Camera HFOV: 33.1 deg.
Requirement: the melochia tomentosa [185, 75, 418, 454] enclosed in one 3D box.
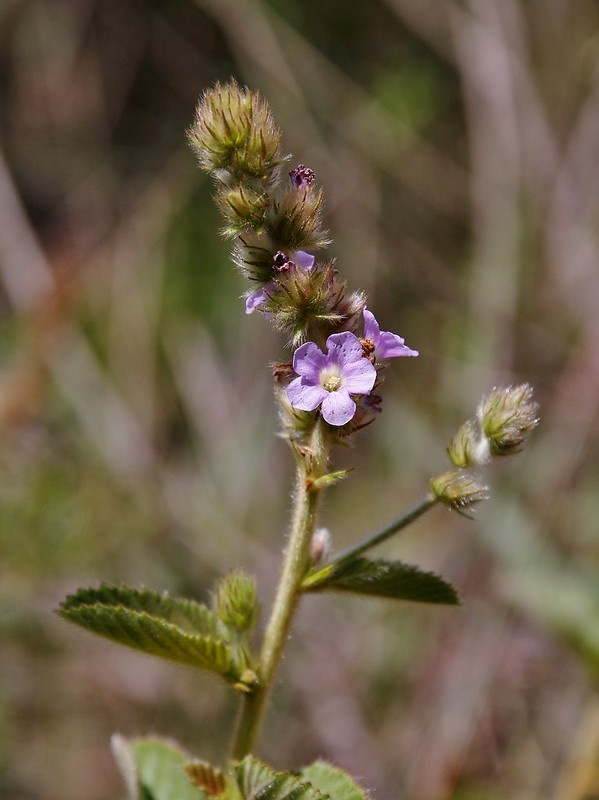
[{"bbox_3d":[0.001,-0.240,1.828,0.402,0.666,0.294,3,4,31],"label":"melochia tomentosa"}]
